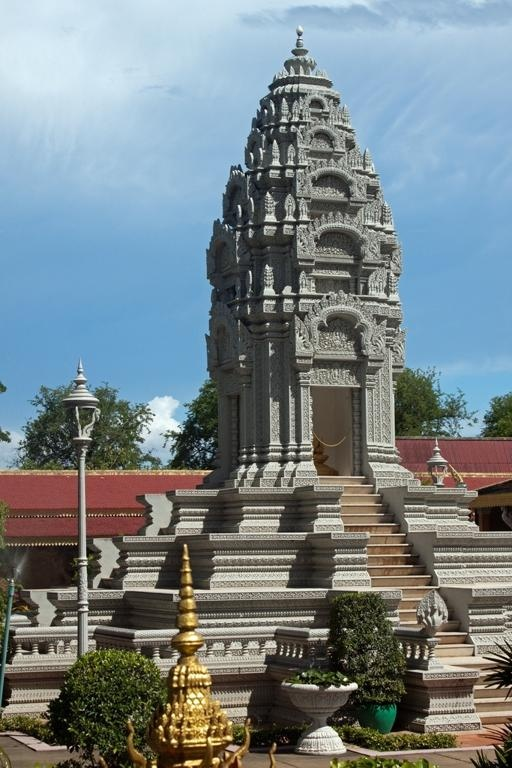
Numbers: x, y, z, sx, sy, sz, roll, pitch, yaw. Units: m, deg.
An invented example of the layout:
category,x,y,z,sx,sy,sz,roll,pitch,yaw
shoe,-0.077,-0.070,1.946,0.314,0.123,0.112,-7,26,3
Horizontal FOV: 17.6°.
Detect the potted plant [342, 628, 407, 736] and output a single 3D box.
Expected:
category,x,y,z,sx,sy,sz,roll,pitch,yaw
potted plant,1.205,3.160,17.621,0.703,1.124,0.368,1,-11,-11
